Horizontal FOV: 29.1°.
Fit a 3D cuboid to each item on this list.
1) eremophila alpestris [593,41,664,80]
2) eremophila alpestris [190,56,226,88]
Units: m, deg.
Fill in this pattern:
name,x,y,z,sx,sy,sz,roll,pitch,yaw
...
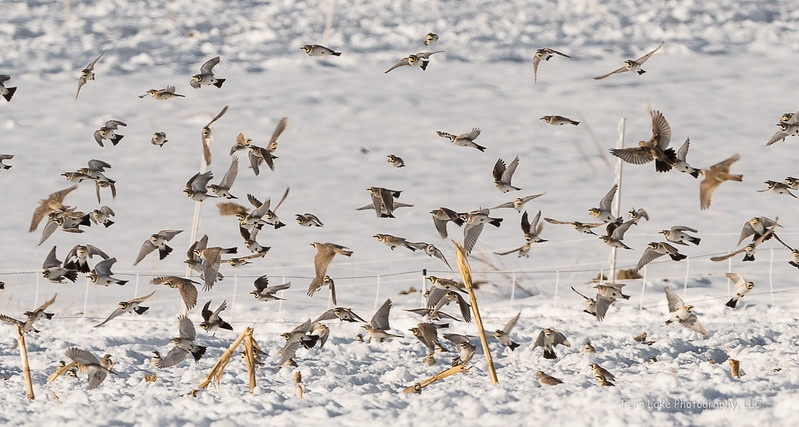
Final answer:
name,x,y,z,sx,sy,sz,roll,pitch,yaw
eremophila alpestris,5.991,-3.661,38.802,0.789,1.738,0.348,31,53,-25
eremophila alpestris,-4.901,-3.449,39.937,1.067,1.113,0.440,13,54,6
